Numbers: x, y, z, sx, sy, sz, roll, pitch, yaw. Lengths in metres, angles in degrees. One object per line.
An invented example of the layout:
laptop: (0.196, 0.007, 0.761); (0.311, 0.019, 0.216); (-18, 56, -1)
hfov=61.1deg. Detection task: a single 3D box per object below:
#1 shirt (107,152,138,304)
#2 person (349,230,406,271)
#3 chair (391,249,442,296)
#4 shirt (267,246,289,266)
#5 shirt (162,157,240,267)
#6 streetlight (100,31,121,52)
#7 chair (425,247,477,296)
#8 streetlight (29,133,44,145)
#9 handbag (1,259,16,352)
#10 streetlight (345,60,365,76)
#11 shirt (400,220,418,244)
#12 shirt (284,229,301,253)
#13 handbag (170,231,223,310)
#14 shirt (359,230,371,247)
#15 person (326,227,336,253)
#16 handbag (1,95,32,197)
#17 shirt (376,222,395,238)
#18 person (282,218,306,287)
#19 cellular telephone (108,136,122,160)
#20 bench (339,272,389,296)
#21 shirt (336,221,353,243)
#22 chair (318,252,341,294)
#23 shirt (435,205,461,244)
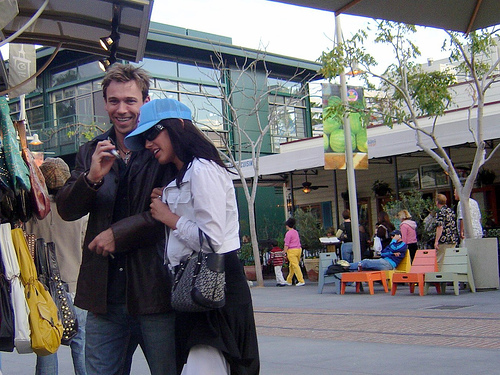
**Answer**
shirt: (-0.836, 0.249, 2.790); (0.174, 0.983, 0.284); (-4, -3, 8)
person: (4.042, 1.969, 13.191); (1.590, 1.170, 0.679); (-4, -3, 20)
chair: (4.956, 2.429, 12.207); (1.150, 1.744, 1.454); (-5, -12, 40)
shirt: (1.104, 2.825, 17.375); (1.129, 0.966, 0.600); (0, 4, 11)
shirt: (-0.240, 0.093, 2.624); (0.319, 0.497, 0.530); (0, -7, -8)
streetlight: (-1.600, -1.665, 4.839); (0.236, 0.182, 0.107); (-5, -4, 25)
chair: (5.363, 2.244, 11.427); (1.141, 1.240, 0.829); (6, -11, -37)
streetlight: (-11.005, -2.439, 21.698); (0.752, 0.513, 0.753); (2, -5, -25)
handbag: (-1.851, 0.904, 3.228); (0.085, 0.693, 0.190); (-1, -4, -30)
streetlight: (3.454, -3.899, 13.994); (0.365, 0.550, 0.794); (-3, -4, -2)
shirt: (5.188, 1.464, 13.989); (0.321, 0.788, 0.937); (-6, -5, 41)
shirt: (1.603, 2.050, 16.415); (0.603, 0.811, 0.322); (-3, -3, -3)
handbag: (-0.302, 0.437, 2.479); (0.199, 0.550, 0.400); (18, -24, -35)
shirt: (4.303, 1.940, 16.125); (0.191, 0.649, 0.765); (-5, -4, 32)
person: (3.439, 2.267, 18.204); (0.350, 0.999, 1.018); (0, -6, -1)
handbag: (-1.903, -0.363, 3.444); (0.199, 0.857, 0.357); (-2, -4, -28)
shirt: (4.635, 1.449, 14.626); (0.590, 0.535, 0.336); (-3, -3, 0)
person: (1.647, 2.584, 16.883); (0.841, 2.697, 1.581); (-3, -3, 4)
cellular telephone: (-0.908, -0.264, 2.821); (0.045, 0.168, 0.100); (-26, 12, 3)
bench: (3.409, 2.852, 12.750); (1.422, 0.698, 0.864); (-4, -4, 10)
shirt: (3.479, 1.659, 15.821); (0.554, 0.799, 0.471); (-4, -3, 11)
chair: (2.771, 2.756, 13.697); (0.800, 1.237, 0.946); (3, -1, -44)
shirt: (6.243, 1.075, 12.838); (0.620, 1.134, 1.003); (-6, -1, -40)
